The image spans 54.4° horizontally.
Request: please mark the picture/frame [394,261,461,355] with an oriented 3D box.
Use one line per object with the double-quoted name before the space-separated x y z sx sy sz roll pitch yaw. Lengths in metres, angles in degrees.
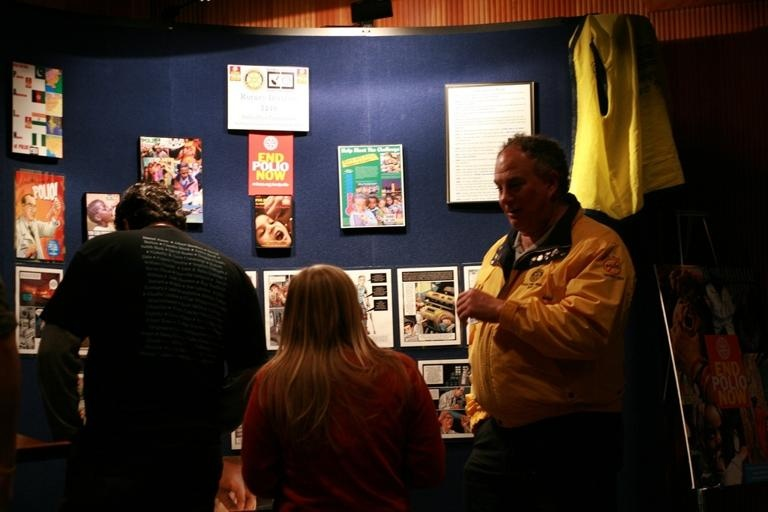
"picture/frame" 0.293 0.379 5.024 0.605 0.728 0.029 -1 -7 -2
